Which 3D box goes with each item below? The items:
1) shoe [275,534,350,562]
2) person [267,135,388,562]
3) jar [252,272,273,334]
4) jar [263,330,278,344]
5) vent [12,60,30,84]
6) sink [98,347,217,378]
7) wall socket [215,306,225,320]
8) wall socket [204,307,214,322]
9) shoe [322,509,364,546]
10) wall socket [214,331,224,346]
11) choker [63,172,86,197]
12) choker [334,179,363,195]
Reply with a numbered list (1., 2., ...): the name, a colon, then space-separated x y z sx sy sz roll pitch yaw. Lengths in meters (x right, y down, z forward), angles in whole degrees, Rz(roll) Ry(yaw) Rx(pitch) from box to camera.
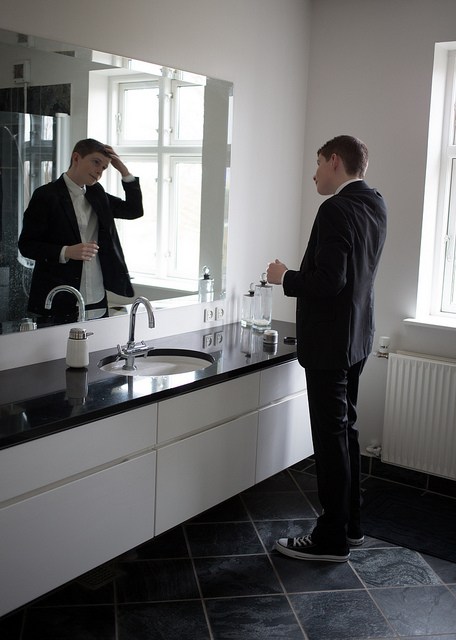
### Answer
1. shoe: 0.346 0.893 2.063 0.288 0.134 0.115 9 -9 7
2. person: 0.379 0.133 1.916 0.332 1.676 0.456 4 3 31
3. jar: 0.187 -0.113 2.645 0.118 0.326 0.132 5 33 6
4. jar: 0.192 0.082 2.336 0.073 0.059 0.042 5 4 33
5. vent: -0.634 -0.760 1.516 0.009 0.090 0.064 3 3 24
6. sink: -0.280 0.172 1.965 0.461 0.101 0.230 2 4 -18
7. wall socket: -0.044 -0.039 2.634 0.006 0.065 0.061 4 9 26
8. wall socket: -0.102 -0.029 2.552 0.006 0.060 0.062 3 8 27
9. shoe: 0.528 0.912 2.231 0.064 0.087 0.206 -4 20 -14
10. wall socket: -0.045 0.090 2.344 0.005 0.052 0.048 -17 -6 25
11. choker: -0.562 -0.489 1.806 0.012 0.068 0.117 3 4 23
12. choker: 0.459 -0.508 1.907 0.081 0.060 0.096 3 4 6
